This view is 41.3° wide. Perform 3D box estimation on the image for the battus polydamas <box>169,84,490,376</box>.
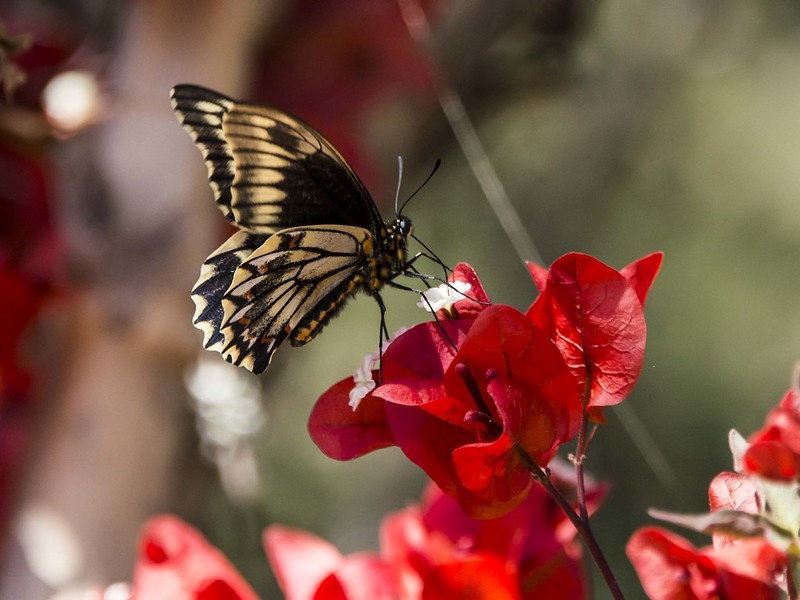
[{"bbox_3d":[-0.085,-0.089,1.169,0.289,0.289,0.324,-8,6,-16],"label":"battus polydamas"}]
